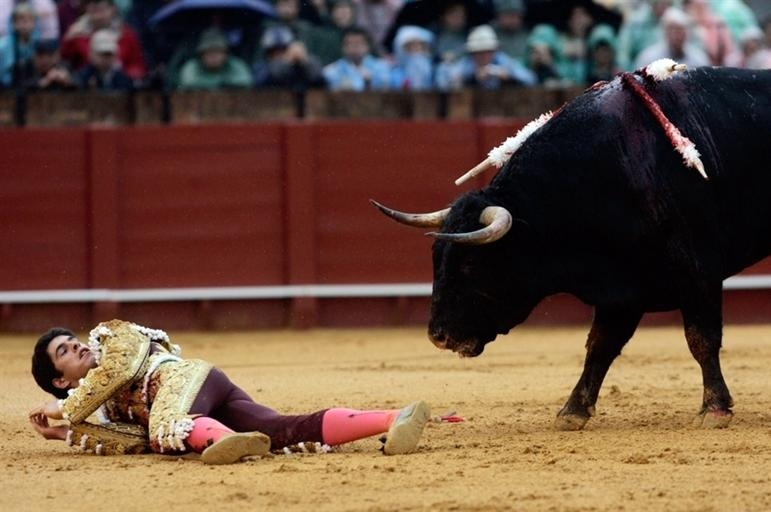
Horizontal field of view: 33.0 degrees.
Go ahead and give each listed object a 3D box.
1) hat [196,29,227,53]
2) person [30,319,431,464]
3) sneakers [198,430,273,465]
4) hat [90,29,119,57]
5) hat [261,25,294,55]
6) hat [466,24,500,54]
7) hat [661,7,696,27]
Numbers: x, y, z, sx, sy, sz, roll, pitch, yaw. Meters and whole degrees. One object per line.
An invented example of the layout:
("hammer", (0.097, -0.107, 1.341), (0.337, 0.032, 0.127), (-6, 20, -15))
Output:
("hat", (-1.552, -1.894, 11.581), (0.227, 0.155, 0.227), (0, 3, 26))
("person", (-0.916, 0.792, 7.626), (2.060, 0.617, 0.952), (1, -9, 15))
("sneakers", (-0.839, 1.069, 7.301), (0.394, 0.154, 0.169), (-4, -26, -5))
("hat", (-2.414, -1.872, 11.351), (0.294, 0.210, 0.227), (-6, 10, -32))
("hat", (-0.994, -1.942, 11.728), (0.150, 0.253, 0.367), (-10, 12, -43))
("hat", (0.801, -1.907, 11.433), (0.197, 0.235, 0.577), (2, 8, 19))
("hat", (2.675, -2.192, 11.967), (0.259, 0.101, 0.262), (5, 19, 6))
